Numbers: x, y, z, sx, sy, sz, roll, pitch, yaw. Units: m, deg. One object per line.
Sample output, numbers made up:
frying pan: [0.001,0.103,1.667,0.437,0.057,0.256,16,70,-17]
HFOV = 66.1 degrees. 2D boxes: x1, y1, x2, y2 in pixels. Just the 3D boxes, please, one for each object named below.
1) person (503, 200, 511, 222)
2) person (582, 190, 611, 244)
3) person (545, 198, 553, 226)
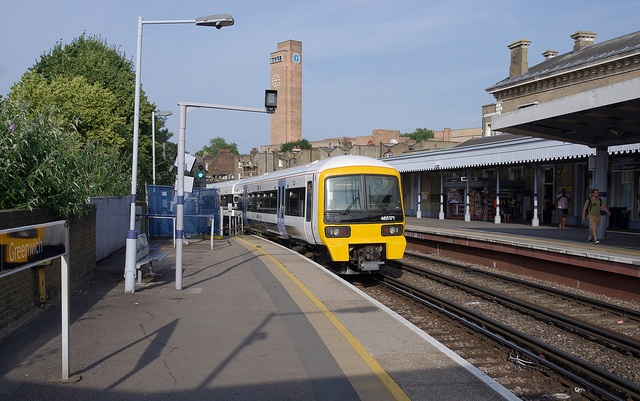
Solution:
person: [11.748,0.632,30.906,0.368,1.278,1.884,0,2,20]
person: [10.640,0.596,19.010,0.696,2.036,1.347,1,2,31]
person: [13.610,0.617,29.172,0.466,1.353,0.603,-3,3,-45]
